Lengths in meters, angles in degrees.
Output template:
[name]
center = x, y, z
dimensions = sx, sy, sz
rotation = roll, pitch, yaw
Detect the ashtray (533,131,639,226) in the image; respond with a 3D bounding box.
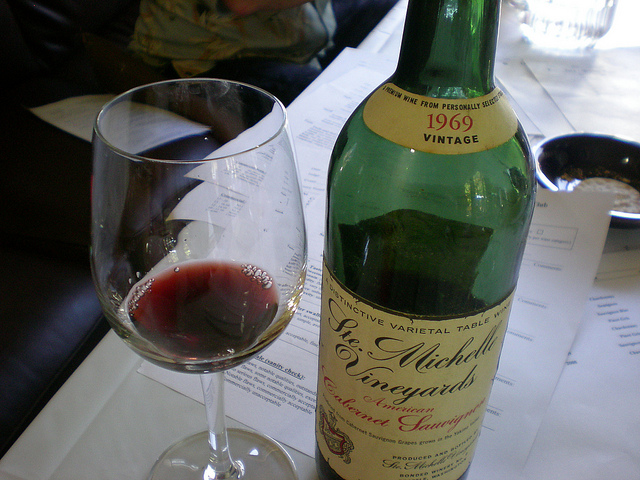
[ashtray]
center = 0.346, -0.095, 0.751
dimensions = 0.138, 0.044, 0.099
rotation = 26, 48, 26

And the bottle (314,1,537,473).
[bottle]
center = 0.078, 0.025, 0.491
dimensions = 0.170, 0.361, 0.222
rotation = 11, 42, 14
